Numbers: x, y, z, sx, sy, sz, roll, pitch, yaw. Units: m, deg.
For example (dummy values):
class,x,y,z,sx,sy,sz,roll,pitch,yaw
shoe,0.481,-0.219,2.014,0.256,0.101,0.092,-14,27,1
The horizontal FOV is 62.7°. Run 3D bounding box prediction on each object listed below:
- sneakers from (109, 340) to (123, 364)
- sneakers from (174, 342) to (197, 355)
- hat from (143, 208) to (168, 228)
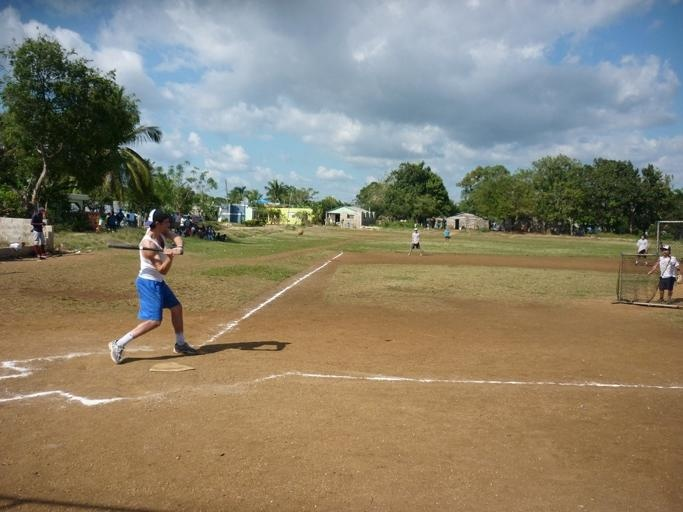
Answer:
class,x,y,z,sx,sy,sz,roll,pitch,yaw
sneakers,-3.644,1.561,9.070,0.165,0.336,0.125,-20,-22,-2
sneakers,-2.723,1.633,9.886,0.443,0.199,0.169,5,0,-7
hat,-3.048,-0.631,9.181,0.360,0.208,0.250,-10,8,-32
